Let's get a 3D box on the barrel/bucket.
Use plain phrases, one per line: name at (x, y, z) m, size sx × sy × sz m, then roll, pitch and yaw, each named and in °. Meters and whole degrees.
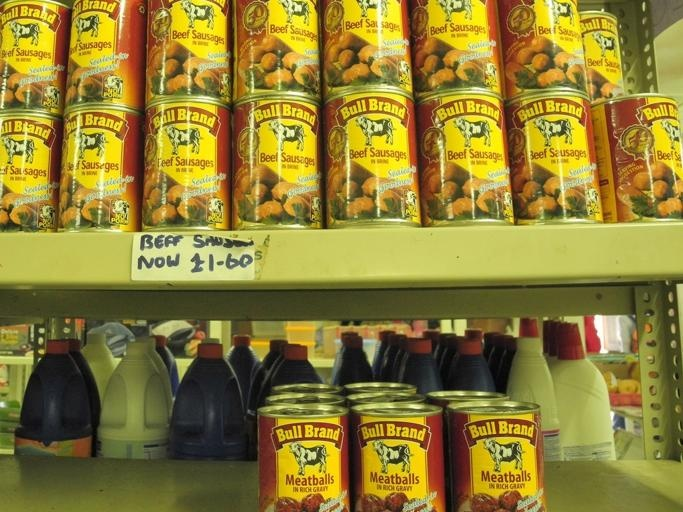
barrel/bucket at (-0.499, 0.358, 1.575) m, size 0.539 × 0.325 × 0.206 m, roll 6°, pitch 15°, yaw 21°
